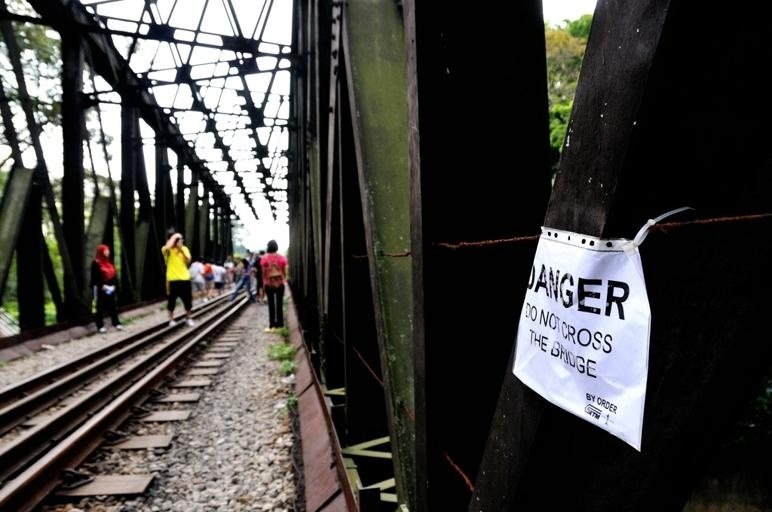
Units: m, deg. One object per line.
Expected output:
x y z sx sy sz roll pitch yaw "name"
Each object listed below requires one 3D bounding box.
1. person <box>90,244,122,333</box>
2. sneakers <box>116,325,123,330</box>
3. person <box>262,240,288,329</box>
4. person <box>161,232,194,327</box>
-5.230 0.619 10.202 0.468 1.698 1.302 -1 5 -26 "person"
-5.193 1.397 10.591 0.090 0.046 0.141 5 -5 -37 "sneakers"
-2.075 0.510 10.071 0.466 1.604 0.470 -4 12 -26 "person"
-3.891 0.443 10.214 0.548 1.750 0.460 -1 0 -30 "person"
